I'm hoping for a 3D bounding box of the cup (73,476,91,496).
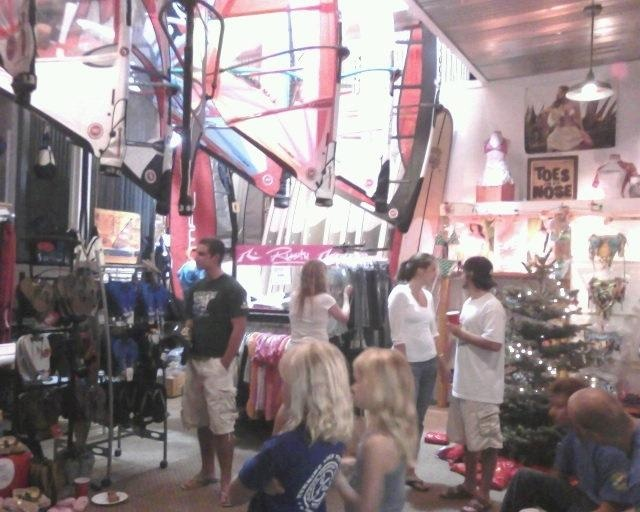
[{"bbox_3d":[-1.759,1.696,4.141,0.110,0.136,0.112,4,4,0],"label":"cup"}]

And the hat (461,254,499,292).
[{"bbox_3d":[1.164,0.126,4.161,0.193,0.269,0.259,-6,31,-19],"label":"hat"}]

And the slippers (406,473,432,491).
[{"bbox_3d":[0.774,1.796,4.468,0.080,0.057,0.206,-1,-2,-31],"label":"slippers"}]

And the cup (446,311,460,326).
[{"bbox_3d":[0.953,0.445,4.063,0.098,0.090,0.107,0,-3,0],"label":"cup"}]

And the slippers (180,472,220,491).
[{"bbox_3d":[-0.940,1.753,4.355,0.250,0.076,0.101,4,-2,-27],"label":"slippers"}]

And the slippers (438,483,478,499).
[{"bbox_3d":[1.049,1.805,4.289,0.305,0.136,0.109,2,-5,3],"label":"slippers"}]

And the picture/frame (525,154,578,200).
[{"bbox_3d":[2.702,-0.913,6.526,0.494,0.526,0.052,4,0,30],"label":"picture/frame"}]
